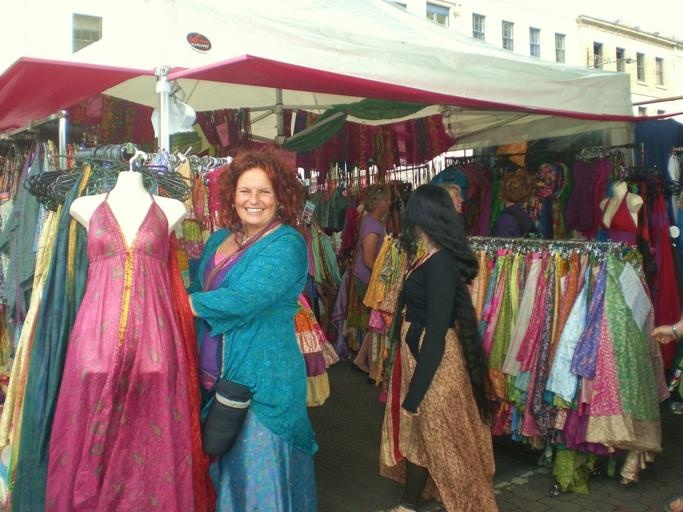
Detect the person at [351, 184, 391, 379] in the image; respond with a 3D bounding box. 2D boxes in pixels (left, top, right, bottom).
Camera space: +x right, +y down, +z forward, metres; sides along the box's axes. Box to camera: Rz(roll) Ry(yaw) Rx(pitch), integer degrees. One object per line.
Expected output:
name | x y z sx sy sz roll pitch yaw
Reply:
person | 0.314 0.246 7.281 0.397 1.984 0.643 -1 1 2
